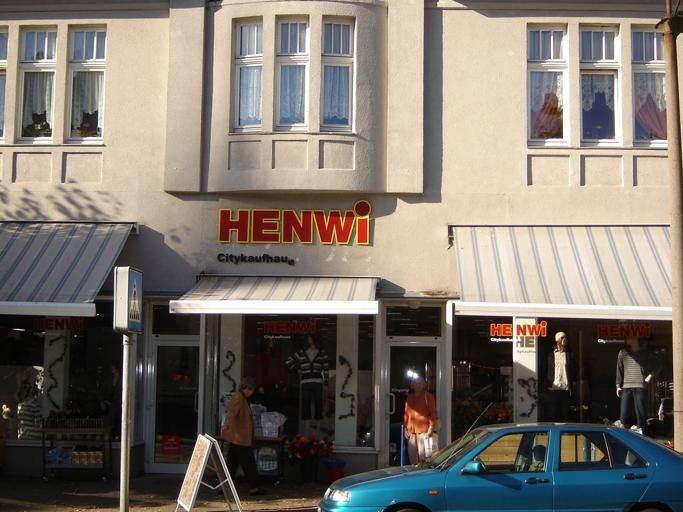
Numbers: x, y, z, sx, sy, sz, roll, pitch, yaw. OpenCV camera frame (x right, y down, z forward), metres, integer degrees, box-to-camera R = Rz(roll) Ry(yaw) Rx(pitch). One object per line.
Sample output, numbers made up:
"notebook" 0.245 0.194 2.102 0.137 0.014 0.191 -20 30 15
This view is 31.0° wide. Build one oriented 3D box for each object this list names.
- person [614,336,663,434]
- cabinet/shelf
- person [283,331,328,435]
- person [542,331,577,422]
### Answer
"person" 6.143 2.628 25.630 0.733 1.933 0.450 1 -2 17
"cabinet/shelf" -5.640 4.070 26.096 1.410 1.258 0.512 1 -20 -19
"person" -0.713 2.711 26.791 0.989 2.005 0.390 -3 24 -5
"person" 4.635 2.489 25.823 0.664 1.848 0.453 1 -2 -8
